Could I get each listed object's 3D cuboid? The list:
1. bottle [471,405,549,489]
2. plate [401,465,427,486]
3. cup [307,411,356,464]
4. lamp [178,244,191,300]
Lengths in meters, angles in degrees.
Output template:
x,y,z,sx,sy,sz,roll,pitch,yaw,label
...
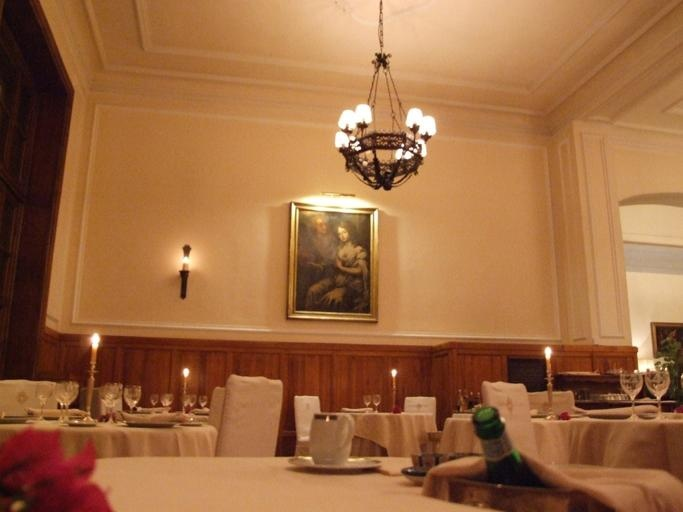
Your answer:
x,y,z,sx,sy,sz,roll,pitch,yaw,label
0.237,0.280,0.756,0.062,0.110,0.126,-14,-21,43,bottle
0.124,0.375,0.906,0.037,0.016,0.039,-3,-12,28,plate
-0.021,0.394,1.116,0.085,0.109,0.093,1,-24,1,cup
-2.305,0.224,7.546,0.148,0.794,0.156,6,-15,-18,lamp
